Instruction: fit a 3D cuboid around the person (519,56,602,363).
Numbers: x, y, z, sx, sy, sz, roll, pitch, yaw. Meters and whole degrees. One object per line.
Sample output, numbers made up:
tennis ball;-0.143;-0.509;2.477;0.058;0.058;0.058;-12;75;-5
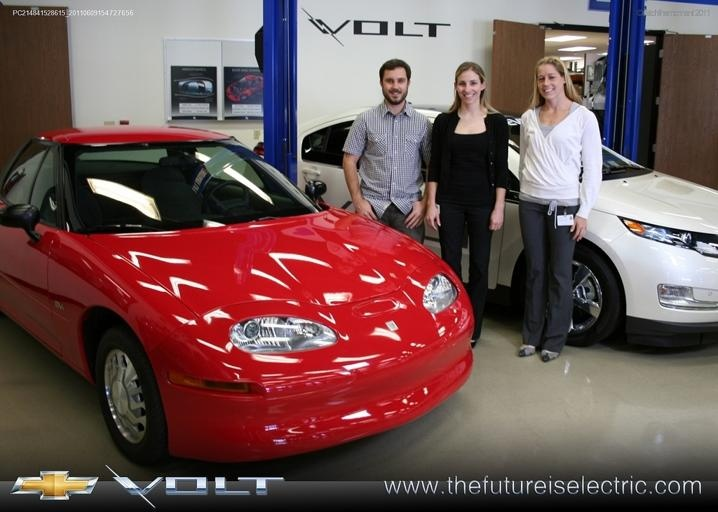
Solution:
person;1.285;-0.279;2.958;0.492;1.936;0.367;6;15;21
